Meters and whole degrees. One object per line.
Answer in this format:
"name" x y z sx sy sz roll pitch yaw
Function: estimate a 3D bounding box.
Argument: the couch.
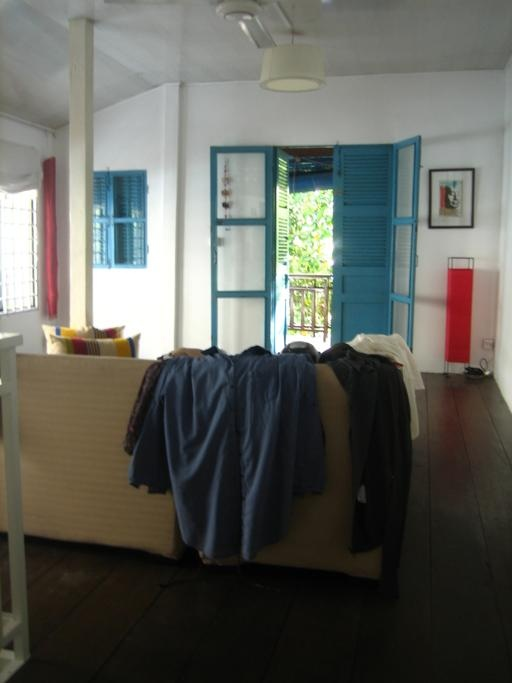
"couch" -0.361 0.433 1.951 1.311 0.758 0.152 2 5 13

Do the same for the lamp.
"lamp" 0.234 -1.877 3.602 0.426 0.373 0.429 0 6 0

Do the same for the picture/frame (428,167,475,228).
"picture/frame" 1.908 -1.422 5.319 0.413 0.026 0.679 10 -38 29
